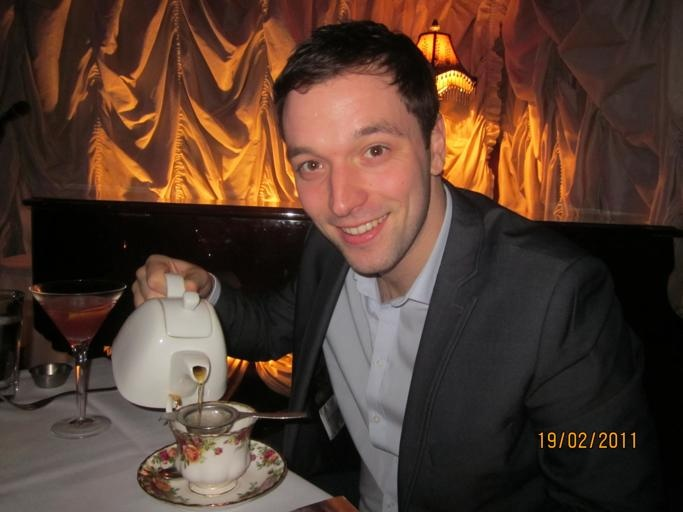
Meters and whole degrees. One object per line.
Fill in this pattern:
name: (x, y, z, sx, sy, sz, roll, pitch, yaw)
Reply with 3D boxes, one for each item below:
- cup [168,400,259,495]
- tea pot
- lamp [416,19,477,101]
cup: (-0.311, 0.457, 1.434, 0.185, 0.154, 0.205, 0, 5, -12)
tea pot: (-0.495, 0.204, 1.650, 0.232, 0.251, 0.344, 1, 33, -40)
lamp: (0.650, -1.260, 3.606, 0.323, 0.346, 0.327, -19, 23, -13)
